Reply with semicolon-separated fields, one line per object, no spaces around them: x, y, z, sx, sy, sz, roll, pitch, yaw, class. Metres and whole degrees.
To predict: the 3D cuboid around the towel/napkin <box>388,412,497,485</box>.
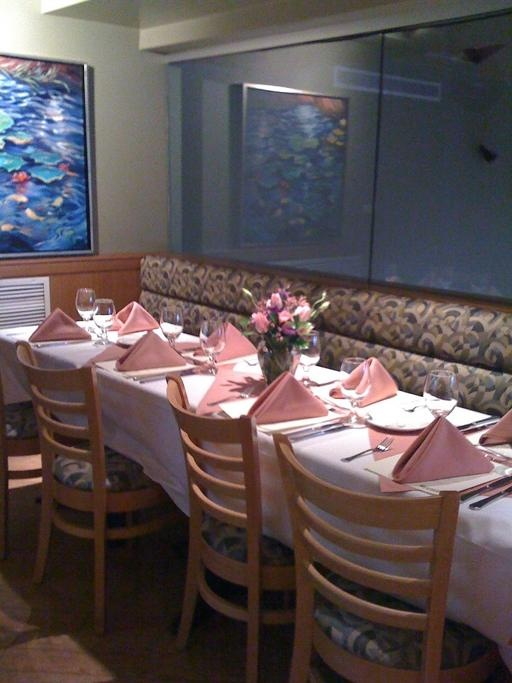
0.376;0.212;1.087;0.200;0.102;0.107;1;-2;-27;towel/napkin

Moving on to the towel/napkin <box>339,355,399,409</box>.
0.333;0.121;1.562;0.125;0.069;0.181;12;19;37;towel/napkin

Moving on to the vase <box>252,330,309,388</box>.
0.075;0.047;1.687;0.152;0.212;0.147;-5;9;-42;vase

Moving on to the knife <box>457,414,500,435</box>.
0.571;0.214;1.391;0.114;0.042;0.022;-12;13;-38;knife

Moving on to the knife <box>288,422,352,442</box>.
0.156;0.227;1.350;0.233;0.030;0.033;-7;8;-37;knife

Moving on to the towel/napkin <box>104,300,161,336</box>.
-0.618;-0.120;2.756;0.271;0.123;0.344;-2;6;-13;towel/napkin

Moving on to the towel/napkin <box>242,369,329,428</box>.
0.080;0.160;1.436;0.203;0.108;0.115;4;-3;-35;towel/napkin
